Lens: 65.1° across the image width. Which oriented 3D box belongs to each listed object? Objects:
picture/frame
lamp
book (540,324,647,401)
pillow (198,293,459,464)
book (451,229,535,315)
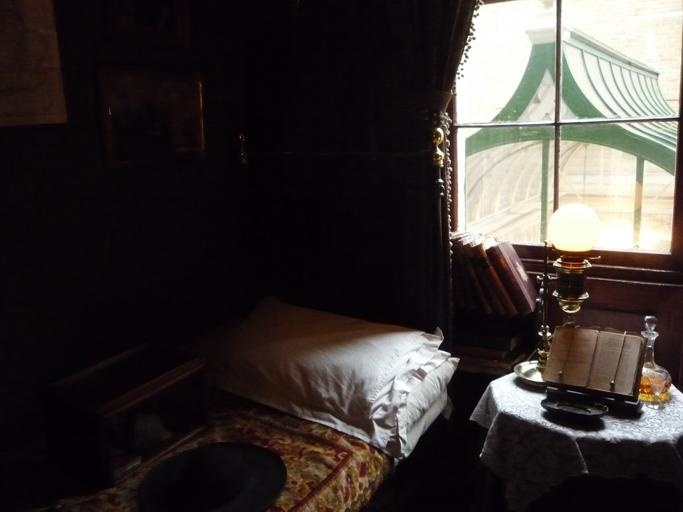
[{"bbox_3d":[-0.632,-0.472,1.815,0.498,0.332,0.055,6,9,26],"label":"picture/frame"},{"bbox_3d":[0.787,0.137,1.890,0.193,0.668,0.154,4,19,30],"label":"lamp"},{"bbox_3d":[0.822,0.337,1.719,0.229,0.079,0.238,10,63,23],"label":"book"},{"bbox_3d":[-0.066,0.370,1.835,0.634,0.224,0.475,13,23,26],"label":"pillow"},{"bbox_3d":[0.593,0.121,2.131,0.099,0.353,0.263,-25,31,10],"label":"book"}]
